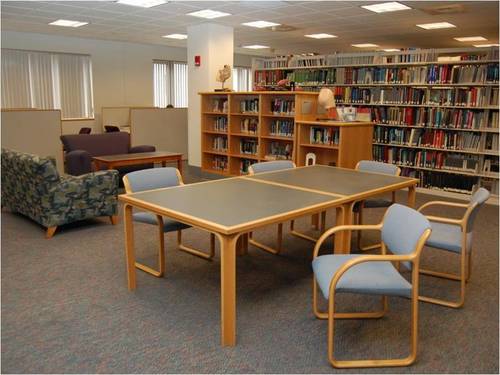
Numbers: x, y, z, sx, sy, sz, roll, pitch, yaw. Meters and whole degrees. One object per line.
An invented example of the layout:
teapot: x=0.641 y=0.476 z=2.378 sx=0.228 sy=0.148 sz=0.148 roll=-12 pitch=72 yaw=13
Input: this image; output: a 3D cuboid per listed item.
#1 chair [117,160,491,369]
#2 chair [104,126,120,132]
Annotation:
chair: x=0.401 y=0.511 z=3.458 sx=2.551 sy=1.000 sz=2.007 roll=4 pitch=14 yaw=17
chair: x=-3.370 y=-1.420 z=9.180 sx=0.258 sy=0.141 sz=0.578 roll=-7 pitch=15 yaw=-26
